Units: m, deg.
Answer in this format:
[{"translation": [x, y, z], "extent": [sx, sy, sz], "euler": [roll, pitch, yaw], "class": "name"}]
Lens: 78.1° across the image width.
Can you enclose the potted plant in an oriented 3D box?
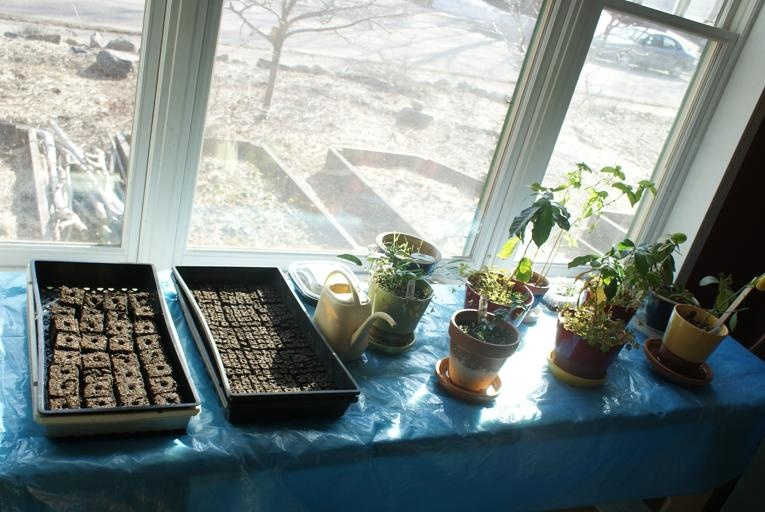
[{"translation": [0.523, -0.047, 1.997], "extent": [1.363, 0.477, 0.972], "euler": [23, 46, 14], "class": "potted plant"}]
